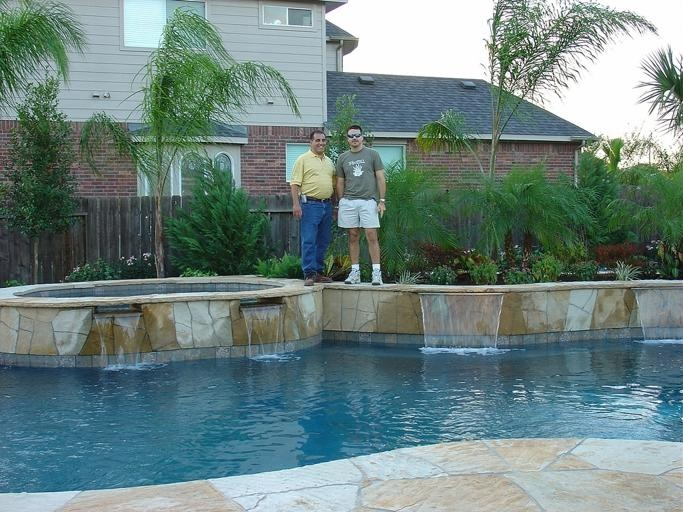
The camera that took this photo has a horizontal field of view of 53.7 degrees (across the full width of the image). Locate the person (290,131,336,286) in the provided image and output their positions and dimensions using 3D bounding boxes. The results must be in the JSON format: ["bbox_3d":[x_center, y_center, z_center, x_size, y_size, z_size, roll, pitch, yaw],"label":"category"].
[{"bbox_3d":[-0.412,-0.722,9.966,0.456,1.761,0.732,0,0,37],"label":"person"}]

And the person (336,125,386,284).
[{"bbox_3d":[0.272,-0.747,9.830,0.730,1.704,0.525,-1,0,5],"label":"person"}]

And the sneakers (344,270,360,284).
[{"bbox_3d":[0.173,0.305,9.804,0.206,0.149,0.359,-1,0,3],"label":"sneakers"}]
